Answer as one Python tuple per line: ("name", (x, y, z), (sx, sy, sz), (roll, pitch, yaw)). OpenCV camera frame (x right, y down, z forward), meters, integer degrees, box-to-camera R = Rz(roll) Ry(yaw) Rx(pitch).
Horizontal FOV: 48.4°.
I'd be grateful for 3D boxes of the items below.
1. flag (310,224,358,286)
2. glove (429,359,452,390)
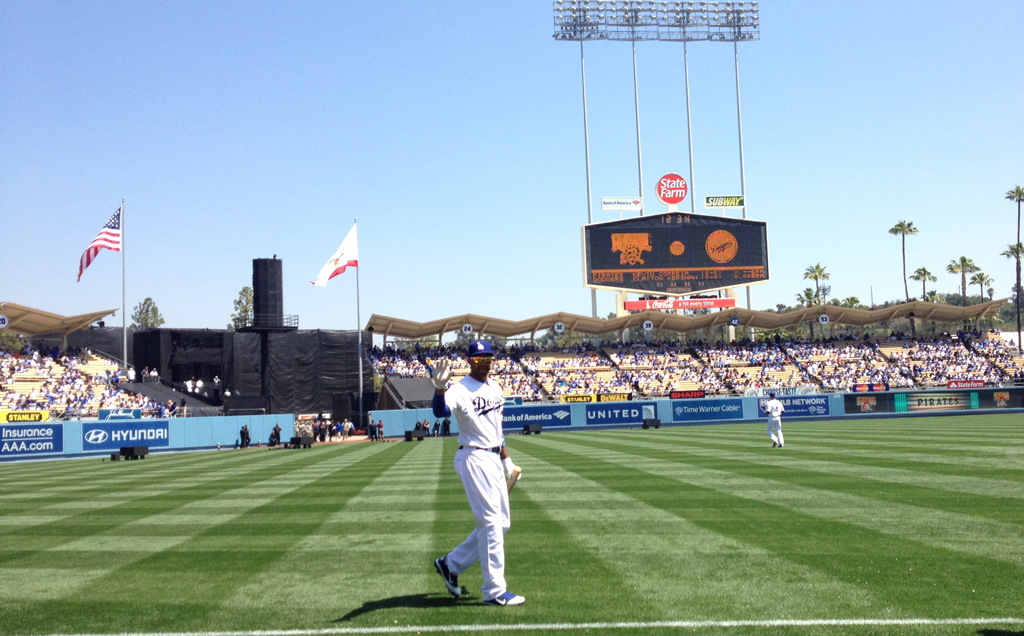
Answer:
("flag", (-10.476, -3.841, 68.515), (1.541, 3.411, 2.663), (0, 3, 14))
("glove", (-1.778, 1.416, 28.816), (0.407, 0.771, 0.484), (0, 3, -2))
